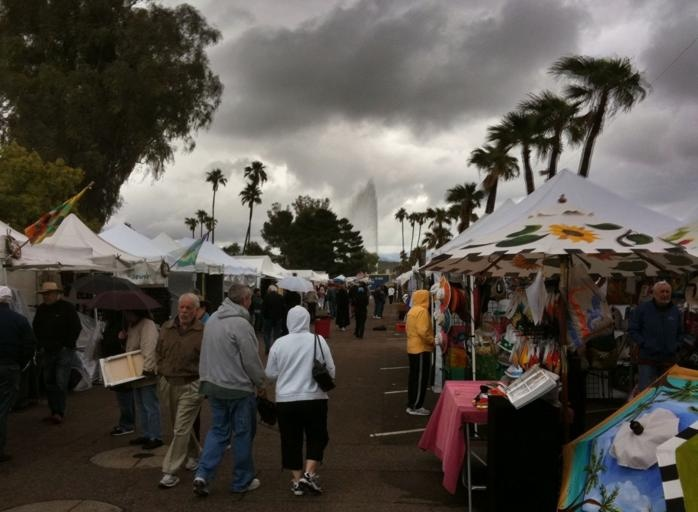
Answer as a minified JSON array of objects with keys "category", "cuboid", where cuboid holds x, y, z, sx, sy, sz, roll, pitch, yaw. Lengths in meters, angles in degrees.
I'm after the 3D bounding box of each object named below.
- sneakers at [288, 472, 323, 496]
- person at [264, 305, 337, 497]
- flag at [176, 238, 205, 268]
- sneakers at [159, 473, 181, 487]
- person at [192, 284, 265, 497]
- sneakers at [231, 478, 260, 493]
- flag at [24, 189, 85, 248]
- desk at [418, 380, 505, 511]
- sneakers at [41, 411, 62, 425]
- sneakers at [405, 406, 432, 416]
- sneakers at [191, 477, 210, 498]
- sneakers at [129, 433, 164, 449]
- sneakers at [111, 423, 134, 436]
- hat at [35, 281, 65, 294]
[{"category":"sneakers","cuboid":[-0.568,2.931,7.850,0.470,0.231,0.198,23,-43,-21]},{"category":"person","cuboid":[-0.632,1.863,7.953,0.847,2.246,0.402,1,0,-4]},{"category":"flag","cuboid":[-4.093,-0.092,15.776,0.595,0.642,1.169,1,0,-14]},{"category":"sneakers","cuboid":[-2.373,2.963,8.075,0.112,0.143,0.289,-3,-14,14]},{"category":"person","cuboid":[-1.548,1.710,7.960,0.887,2.421,0.512,1,0,-11]},{"category":"sneakers","cuboid":[-1.337,2.974,7.956,0.119,0.163,0.347,10,12,35]},{"category":"flag","cuboid":[-6.608,-0.826,13.591,0.965,0.976,1.768,1,0,-26]},{"category":"desk","cuboid":[1.361,2.353,7.838,0.726,1.445,1.303,1,0,-4]},{"category":"sneakers","cuboid":[-5.266,2.865,10.858,0.431,0.181,0.201,-3,9,32]},{"category":"sneakers","cuboid":[1.296,2.883,11.454,0.424,0.211,0.167,0,-5,2]},{"category":"sneakers","cuboid":[-1.866,2.887,7.650,0.119,0.142,0.312,0,-48,-1]},{"category":"sneakers","cuboid":[-3.188,2.885,9.477,0.543,0.246,0.208,10,-5,5]},{"category":"sneakers","cuboid":[-3.772,2.903,10.219,0.371,0.169,0.148,3,-7,-9]},{"category":"hat","cuboid":[-6.178,0.650,12.544,0.288,0.146,0.355,-1,-10,-5]}]
